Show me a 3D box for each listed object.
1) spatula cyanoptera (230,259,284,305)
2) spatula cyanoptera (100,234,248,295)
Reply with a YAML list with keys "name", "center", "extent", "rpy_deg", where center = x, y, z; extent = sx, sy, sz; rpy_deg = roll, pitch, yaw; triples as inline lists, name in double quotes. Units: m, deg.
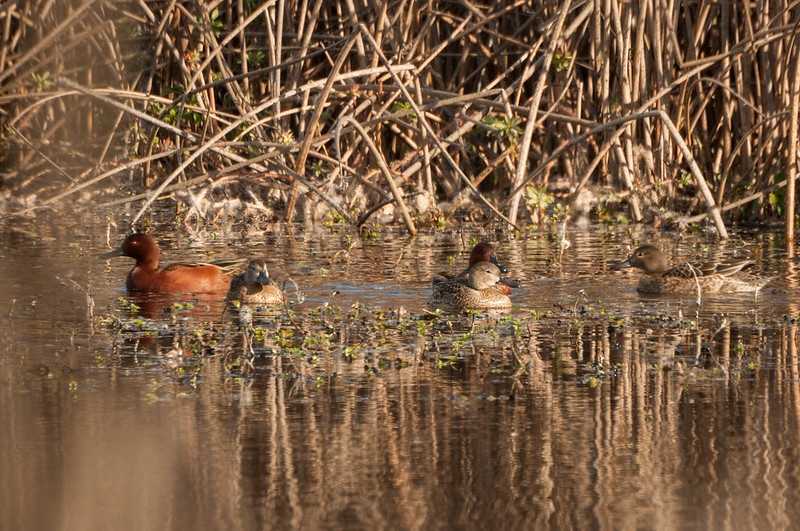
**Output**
- name: "spatula cyanoptera"
  center: [-1.354, 0.172, 10.720]
  extent: [0.385, 0.336, 0.549]
  rpy_deg: [0, 4, -20]
- name: "spatula cyanoptera"
  center: [-2.232, -0.021, 11.554]
  extent: [1.170, 0.575, 0.572]
  rpy_deg: [-2, 14, -9]
